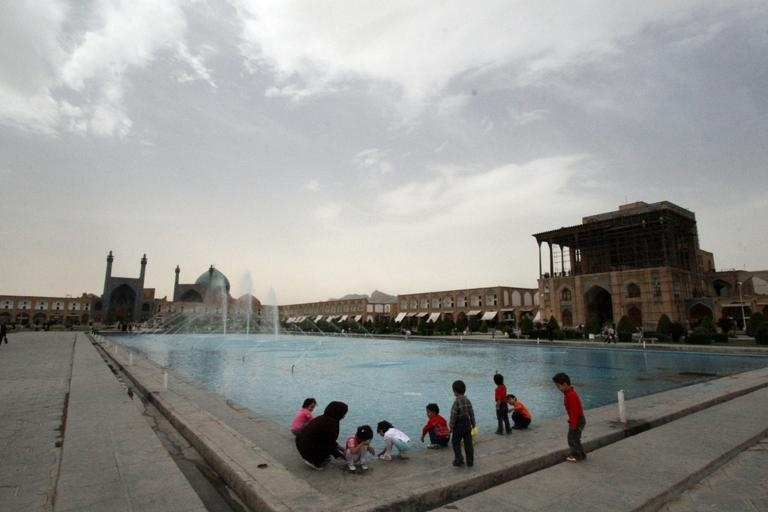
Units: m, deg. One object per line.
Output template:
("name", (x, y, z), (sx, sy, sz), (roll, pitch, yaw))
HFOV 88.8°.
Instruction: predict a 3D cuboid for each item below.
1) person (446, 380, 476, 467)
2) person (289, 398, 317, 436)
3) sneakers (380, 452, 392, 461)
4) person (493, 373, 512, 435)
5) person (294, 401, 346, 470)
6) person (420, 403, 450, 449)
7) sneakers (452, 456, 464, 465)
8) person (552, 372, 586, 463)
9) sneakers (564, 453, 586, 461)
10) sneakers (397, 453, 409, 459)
("person", (1.226, 2.620, 6.101), (0.353, 1.173, 0.524), (-1, -11, 11))
("person", (-1.347, 2.953, 6.818), (0.511, 0.782, 0.442), (5, -18, -2))
("sneakers", (0.024, 3.160, 6.062), (0.155, 0.151, 0.139), (-1, -3, 0))
("person", (2.315, 2.858, 7.581), (0.281, 1.130, 0.892), (-2, -11, 15))
("person", (-0.851, 2.695, 5.931), (0.801, 0.902, 0.629), (18, -6, -39))
("person", (0.882, 2.883, 6.550), (0.429, 0.726, 0.405), (-1, -11, 10))
("sneakers", (1.111, 3.111, 5.838), (0.170, 0.108, 0.123), (-1, -11, 8))
("person", (3.141, 2.660, 6.536), (0.402, 1.330, 1.048), (-4, -11, 25))
("sneakers", (3.012, 3.204, 6.193), (0.331, 0.142, 0.117), (1, -10, 11))
("sneakers", (0.303, 3.207, 6.187), (0.133, 0.107, 0.079), (-5, -8, 26))
